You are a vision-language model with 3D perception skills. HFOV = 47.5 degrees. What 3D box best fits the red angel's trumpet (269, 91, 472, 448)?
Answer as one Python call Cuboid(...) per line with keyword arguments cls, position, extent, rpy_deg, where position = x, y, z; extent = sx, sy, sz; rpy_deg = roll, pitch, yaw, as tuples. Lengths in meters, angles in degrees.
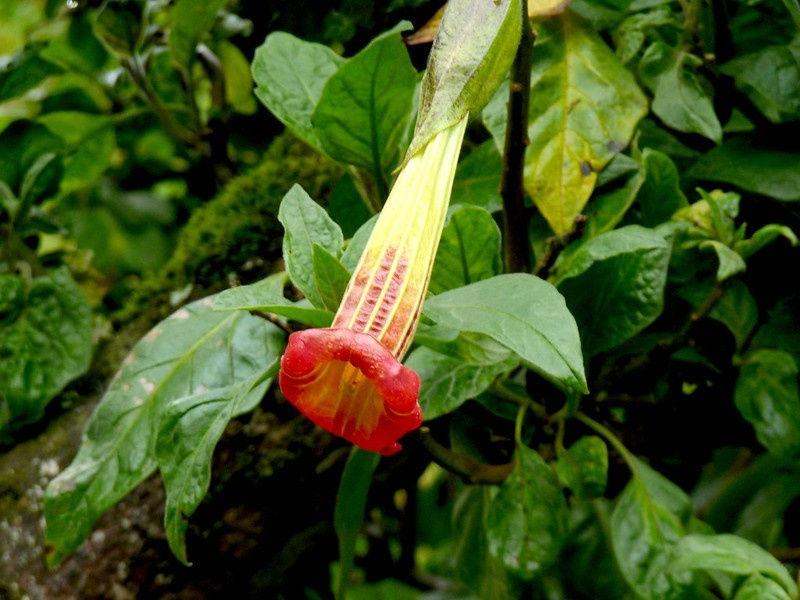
Cuboid(cls="red angel's trumpet", position=(-0.033, -0.035, 1.236), extent=(0.207, 0.193, 0.513), rpy_deg=(33, 37, -11))
